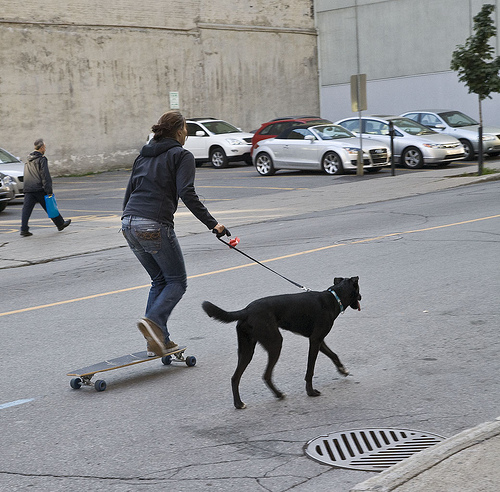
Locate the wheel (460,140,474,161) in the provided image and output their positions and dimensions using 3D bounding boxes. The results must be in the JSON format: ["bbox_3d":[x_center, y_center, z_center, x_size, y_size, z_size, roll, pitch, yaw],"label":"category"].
[{"bbox_3d":[8.011,-3.548,25.786,0.439,0.788,0.909,-3,10,16],"label":"wheel"}]

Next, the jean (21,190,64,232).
[{"bbox_3d":[-4.398,-0.741,14.890,0.887,0.823,0.811,7,14,-13],"label":"jean"}]

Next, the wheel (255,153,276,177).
[{"bbox_3d":[0.588,-2.944,24.921,0.386,0.792,1.005,-12,16,-42],"label":"wheel"}]

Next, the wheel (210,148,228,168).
[{"bbox_3d":[-1.289,-3.762,29.436,0.962,0.751,0.328,6,10,45],"label":"wheel"}]

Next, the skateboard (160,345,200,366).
[{"bbox_3d":[-0.628,0.934,5.904,0.199,0.073,0.292,2,6,23],"label":"skateboard"}]

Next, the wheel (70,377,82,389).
[{"bbox_3d":[-1.330,1.047,5.334,0.075,0.074,0.103,6,-3,36],"label":"wheel"}]

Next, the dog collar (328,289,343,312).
[{"bbox_3d":[0.632,0.403,5.152,0.095,0.160,0.078,-5,11,7],"label":"dog collar"}]

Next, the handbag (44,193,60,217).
[{"bbox_3d":[-4.159,-0.860,14.669,0.236,0.505,0.363,-10,11,-15],"label":"handbag"}]

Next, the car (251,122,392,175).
[{"bbox_3d":[2.392,-3.343,24.068,4.117,1.800,1.592,3,14,41],"label":"car"}]

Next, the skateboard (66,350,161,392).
[{"bbox_3d":[-1.002,0.966,5.618,0.245,0.117,1.068,6,9,44],"label":"skateboard"}]

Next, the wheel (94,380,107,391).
[{"bbox_3d":[-1.145,1.073,5.355,0.061,0.080,0.103,4,8,37],"label":"wheel"}]

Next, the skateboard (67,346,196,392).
[{"bbox_3d":[-0.888,0.925,5.668,1.154,0.141,0.312,-7,7,-34],"label":"skateboard"}]

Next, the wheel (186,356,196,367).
[{"bbox_3d":[-0.492,0.964,5.827,0.046,0.091,0.117,-5,-1,40],"label":"wheel"}]

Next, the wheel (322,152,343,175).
[{"bbox_3d":[2.740,-2.782,23.064,0.346,0.721,0.910,-4,7,-39],"label":"wheel"}]

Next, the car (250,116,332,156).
[{"bbox_3d":[1.314,-4.400,27.313,3.156,1.083,1.550,-5,3,21],"label":"car"}]

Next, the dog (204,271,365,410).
[{"bbox_3d":[0.324,0.678,5.024,1.447,0.721,0.400,-7,3,-40],"label":"dog"}]

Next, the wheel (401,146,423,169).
[{"bbox_3d":[5.610,-3.090,24.084,0.362,0.771,0.988,-7,8,-44],"label":"wheel"}]
